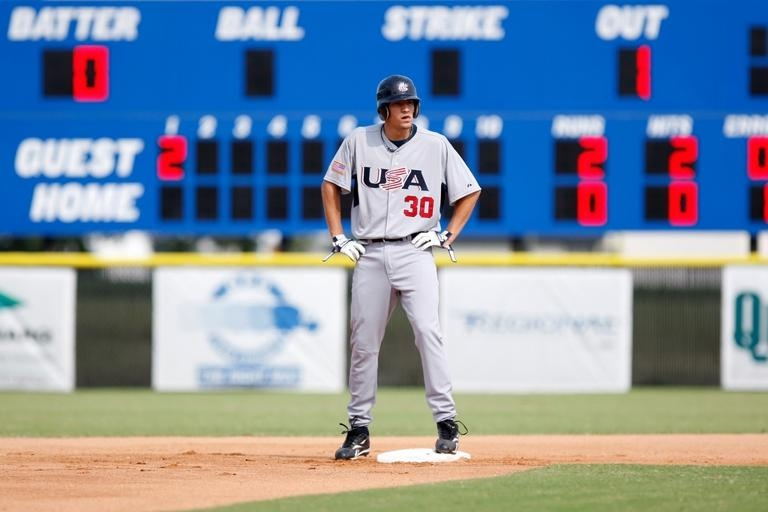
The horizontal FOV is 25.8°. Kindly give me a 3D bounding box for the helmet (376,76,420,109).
[{"bbox_3d":[0.128,-1.412,14.550,0.415,0.323,0.411,2,10,28],"label":"helmet"}]

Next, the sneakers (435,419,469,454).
[{"bbox_3d":[0.539,1.543,14.500,0.220,0.305,0.203,-1,-3,0],"label":"sneakers"}]

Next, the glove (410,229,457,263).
[{"bbox_3d":[0.467,-0.155,14.531,0.375,0.267,0.103,20,20,35],"label":"glove"}]

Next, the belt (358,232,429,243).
[{"bbox_3d":[0.052,-0.162,14.478,0.548,0.090,0.068,-1,-3,4],"label":"belt"}]
